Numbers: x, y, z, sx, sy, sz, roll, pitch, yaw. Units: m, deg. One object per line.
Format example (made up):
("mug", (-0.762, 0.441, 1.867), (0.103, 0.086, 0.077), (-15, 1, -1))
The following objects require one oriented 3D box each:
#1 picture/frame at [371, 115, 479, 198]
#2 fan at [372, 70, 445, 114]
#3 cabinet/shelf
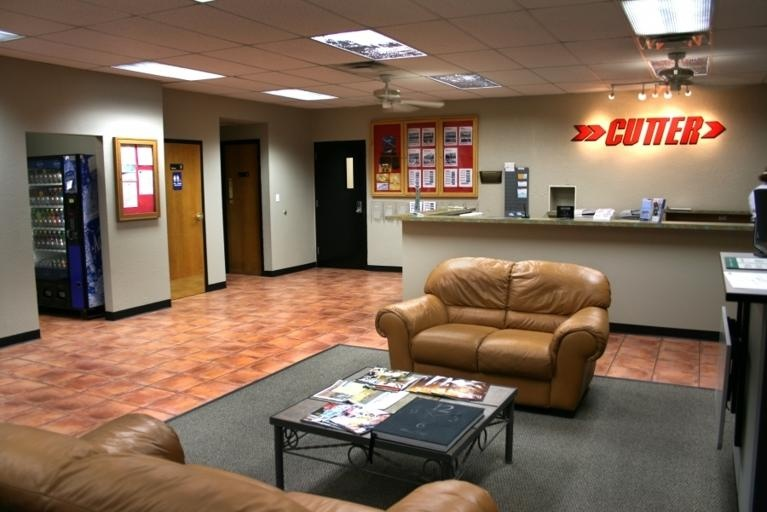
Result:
("picture/frame", (0.837, -1.888, 9.562), (2.003, 1.259, 0.131), (2, 6, 21))
("fan", (0.105, -2.158, 6.884), (1.233, 0.422, 0.938), (3, 2, 11))
("cabinet/shelf", (-4.420, -0.302, 7.235), (1.204, 2.201, 0.399), (2, 11, 27))
